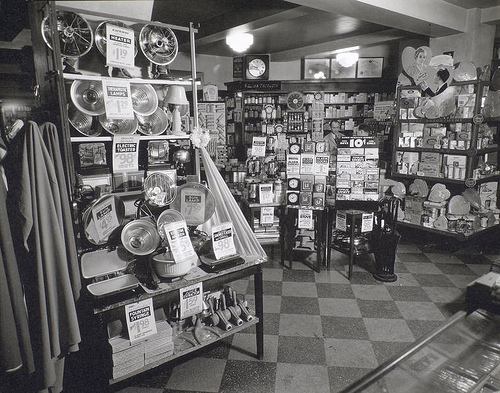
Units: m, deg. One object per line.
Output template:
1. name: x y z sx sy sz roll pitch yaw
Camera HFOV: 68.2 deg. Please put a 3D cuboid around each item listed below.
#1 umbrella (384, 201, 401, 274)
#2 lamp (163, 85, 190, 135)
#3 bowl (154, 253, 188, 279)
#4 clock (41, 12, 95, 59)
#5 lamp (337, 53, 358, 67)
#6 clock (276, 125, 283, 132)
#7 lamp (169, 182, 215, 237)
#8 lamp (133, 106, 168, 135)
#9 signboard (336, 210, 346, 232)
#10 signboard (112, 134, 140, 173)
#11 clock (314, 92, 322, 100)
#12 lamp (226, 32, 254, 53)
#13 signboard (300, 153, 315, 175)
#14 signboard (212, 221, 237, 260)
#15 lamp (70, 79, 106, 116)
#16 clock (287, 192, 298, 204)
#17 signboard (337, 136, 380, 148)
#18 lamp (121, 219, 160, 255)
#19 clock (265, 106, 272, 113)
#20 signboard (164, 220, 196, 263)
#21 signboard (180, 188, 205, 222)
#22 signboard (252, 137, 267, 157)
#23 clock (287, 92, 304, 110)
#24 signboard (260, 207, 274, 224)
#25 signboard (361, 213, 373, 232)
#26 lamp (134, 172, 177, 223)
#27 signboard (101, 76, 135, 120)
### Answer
1. umbrella: 1.724 0.500 4.432 0.147 0.937 0.303 10 18 35
2. lamp: -0.639 -0.737 3.199 0.238 0.412 0.235 17 25 31
3. bowl: -0.558 0.493 2.640 0.204 0.117 0.184 1 9 8
4. clock: -1.252 -1.094 2.514 0.377 0.390 0.109 0 12 -21
5. lamp: 2.027 -2.807 7.692 0.288 0.213 0.297 10 19 27
6. clock: 0.602 -1.353 7.391 0.087 0.145 0.248 6 16 23
7. lamp: -0.450 0.067 2.969 0.336 0.435 0.100 5 7 4
8. lamp: -0.819 -0.609 3.115 0.248 0.253 0.089 16 -13 -25
9. signboard: 1.123 0.287 4.555 0.122 0.228 0.203 3 15 14
10. signboard: -0.947 -0.333 2.802 0.270 0.375 0.018 -9 27 -44
11. clock: 1.308 -1.986 7.239 0.193 0.199 0.057 6 -7 -15
12. lamp: -0.167 -3.028 7.361 0.372 0.304 0.387 7 21 20
13. signboard: 0.701 -0.395 4.508 0.228 0.316 0.034 2 12 6
14. signboard: -0.199 0.342 2.824 0.226 0.303 0.022 -17 18 -41
15. lamp: -1.167 -0.724 2.660 0.057 0.253 0.249 2 24 42
16. clock: 0.524 0.020 4.567 0.124 0.128 0.031 2 4 9
17. signboard: 1.330 -0.672 4.577 0.482 0.127 0.189 3 15 12
18. lamp: -0.768 0.292 2.585 0.090 0.250 0.252 -39 -7 29
19. clock: 0.403 -1.855 7.917 0.158 0.143 0.123 0 14 3
20. signboard: -0.505 0.324 2.601 0.224 0.320 0.032 -25 11 -33
21. signboard: -0.463 0.076 2.983 0.267 0.370 0.037 3 -29 -9
22. signboard: 0.120 -0.666 5.034 0.173 0.281 0.168 -1 14 0
23. clock: 0.882 -1.847 7.201 0.294 0.314 0.177 2 15 9
24. signboard: 0.217 0.239 4.696 0.163 0.239 0.077 -2 14 -6
25. signboard: 1.396 0.302 4.420 0.176 0.239 0.025 -15 21 -21
26. lamp: -0.749 -0.021 2.883 0.239 0.329 0.325 6 16 24
27. signboard: -0.960 -0.709 2.684 0.195 0.272 0.008 -6 13 -28
